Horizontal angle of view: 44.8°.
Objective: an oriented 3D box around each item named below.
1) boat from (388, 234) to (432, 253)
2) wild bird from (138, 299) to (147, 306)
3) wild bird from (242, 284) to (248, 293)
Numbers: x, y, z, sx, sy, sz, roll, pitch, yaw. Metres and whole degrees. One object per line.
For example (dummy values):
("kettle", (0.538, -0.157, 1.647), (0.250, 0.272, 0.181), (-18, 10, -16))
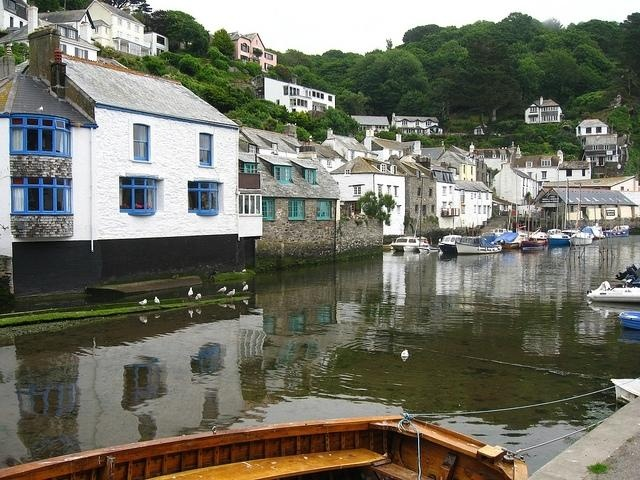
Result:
("boat", (8.603, 0.455, 74.778), (3.373, 1.397, 1.730), (-1, 2, 1))
("wild bird", (-8.554, 2.994, 37.520), (0.501, 0.296, 0.270), (6, 10, 32))
("wild bird", (-4.099, 2.635, 43.336), (0.256, 0.478, 0.495), (-16, 31, -26))
